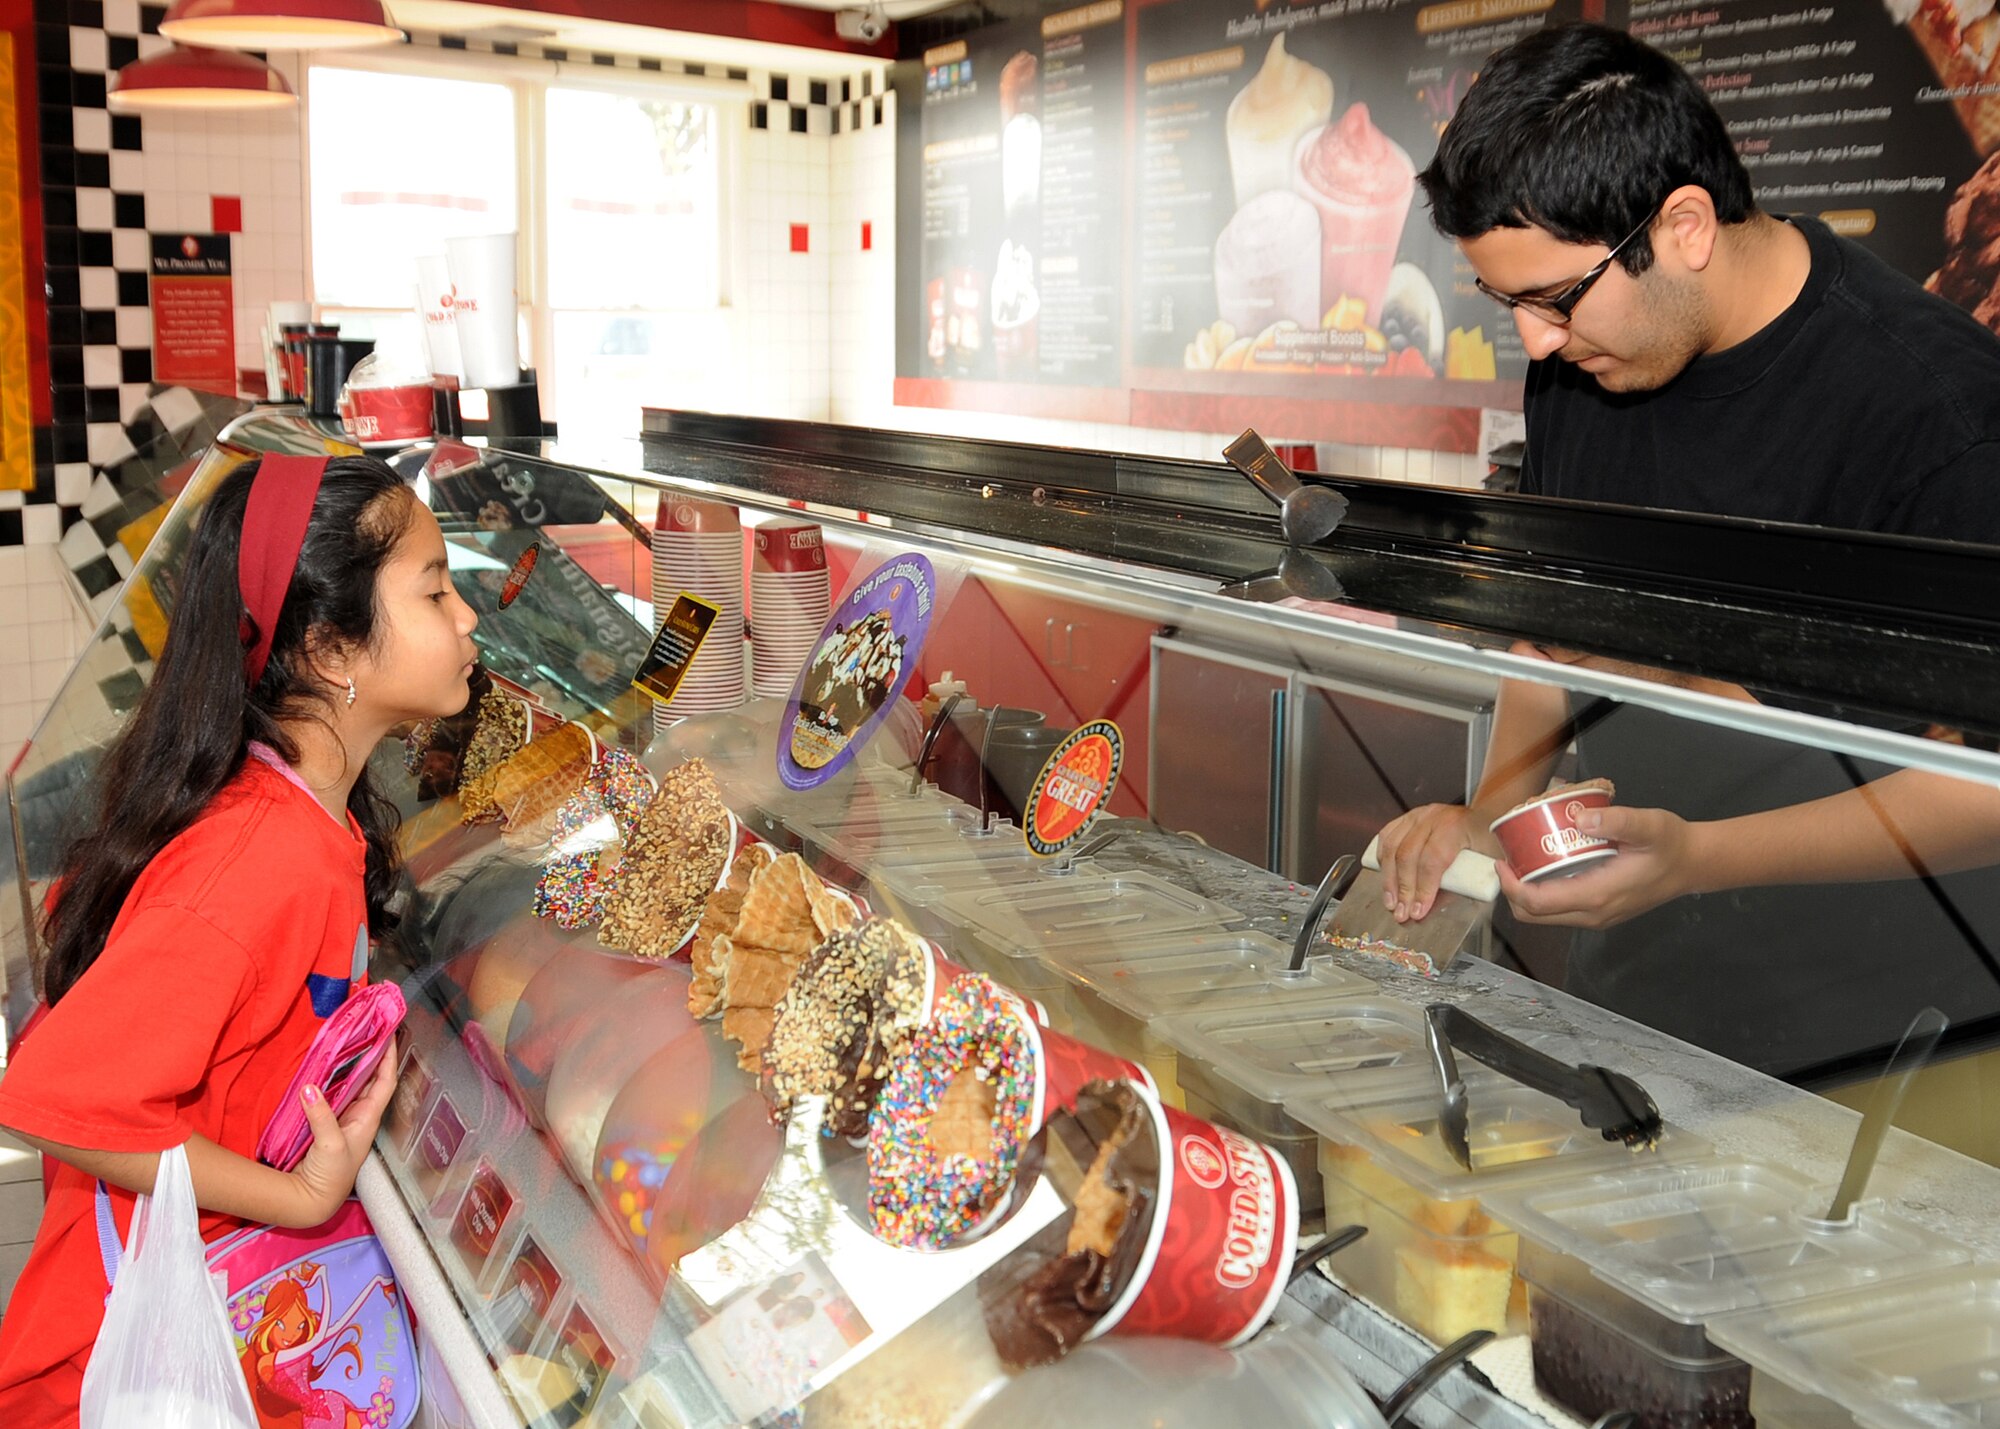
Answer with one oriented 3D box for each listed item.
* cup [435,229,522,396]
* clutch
[{"bbox_3d":[-1.000,-0.775,2.289,0.140,0.282,0.185,-8,18,-24],"label":"cup"},{"bbox_3d":[-0.696,0.366,1.301,0.085,0.281,0.101,35,-3,-26],"label":"clutch"}]
